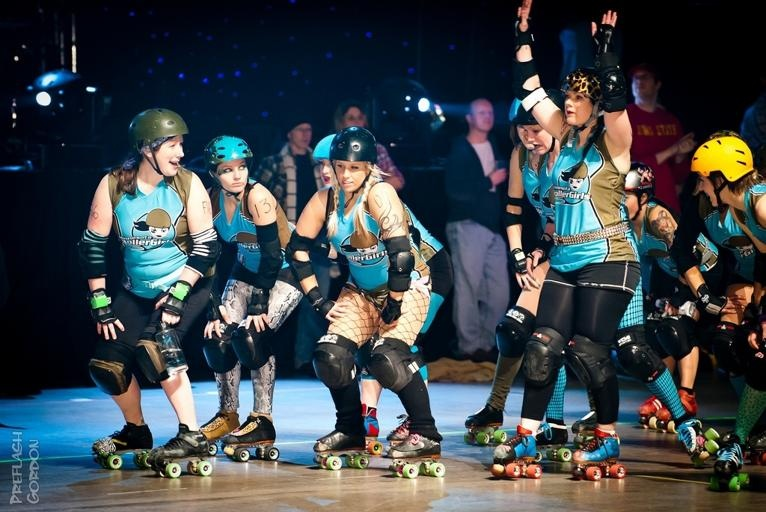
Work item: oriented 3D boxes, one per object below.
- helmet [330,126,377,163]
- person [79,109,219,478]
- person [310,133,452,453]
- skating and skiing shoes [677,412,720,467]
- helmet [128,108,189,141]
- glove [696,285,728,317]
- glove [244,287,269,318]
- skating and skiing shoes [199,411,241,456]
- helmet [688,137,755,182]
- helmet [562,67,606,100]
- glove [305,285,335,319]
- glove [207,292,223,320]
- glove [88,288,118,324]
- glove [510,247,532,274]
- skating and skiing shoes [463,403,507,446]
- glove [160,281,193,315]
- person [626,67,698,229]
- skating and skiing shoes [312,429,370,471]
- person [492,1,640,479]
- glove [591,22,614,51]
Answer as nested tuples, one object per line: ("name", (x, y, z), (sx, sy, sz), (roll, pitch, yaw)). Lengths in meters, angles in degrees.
("helmet", (-0.230, -0.840, 5.447), (0.241, 0.278, 0.323), (7, 26, 10))
("person", (-1.817, 0.186, 5.675), (1.040, 2.900, 0.662), (-1, 0, -8))
("person", (0.062, 0.315, 5.844), (0.893, 2.459, 1.244), (-1, 0, 26))
("skating and skiing shoes", (2.543, 1.497, 5.834), (0.198, 0.271, 0.609), (-25, -30, 5))
("helmet", (-1.772, -1.033, 5.814), (0.471, 0.286, 0.375), (9, 11, 16))
("glove", (2.786, 0.388, 6.250), (0.287, 0.232, 0.120), (25, 1, -26))
("glove", (-1.030, 0.395, 5.937), (0.140, 0.244, 0.101), (12, -5, 6))
("skating and skiing shoes", (-1.397, 1.435, 6.079), (0.144, 0.295, 0.460), (7, 8, 37))
("helmet", (2.593, -0.759, 5.632), (0.408, 0.373, 0.319), (-16, 10, 22))
("helmet", (1.421, -1.221, 5.170), (0.251, 0.209, 0.196), (28, 5, 7))
("glove", (-0.467, 0.346, 5.687), (0.179, 0.273, 0.107), (-39, -17, 28))
("glove", (-1.375, 0.428, 5.943), (0.074, 0.189, 0.147), (3, 2, 6))
("glove", (-2.190, 0.411, 5.670), (0.172, 0.302, 0.133), (-7, 7, -4))
("glove", (1.220, 0.027, 6.488), (0.126, 0.089, 0.225), (-7, 46, -3))
("skating and skiing shoes", (0.911, 1.572, 6.599), (0.219, 0.268, 0.446), (-8, -14, 32))
("glove", (-1.595, 0.333, 5.645), (0.166, 0.286, 0.121), (26, -18, 2))
("person", (3.939, -1.320, 9.795), (0.758, 2.273, 0.674), (-23, 25, 25))
("skating and skiing shoes", (-0.323, 1.510, 5.573), (0.446, 0.274, 0.226), (10, -13, -34))
("person", (1.375, -0.199, 5.276), (0.863, 3.019, 0.478), (-1, 0, 24))
("glove", (1.562, -1.556, 5.167), (0.134, 0.203, 0.192), (-1, 0, 17))
